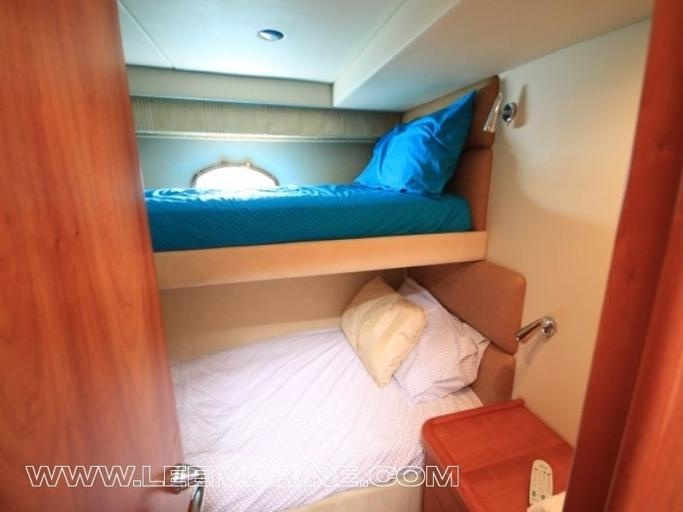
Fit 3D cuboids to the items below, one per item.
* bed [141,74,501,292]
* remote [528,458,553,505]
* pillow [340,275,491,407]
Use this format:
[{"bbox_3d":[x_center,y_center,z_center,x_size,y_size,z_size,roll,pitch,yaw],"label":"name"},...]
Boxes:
[{"bbox_3d":[-0.106,-0.340,2.502,1.540,0.788,0.869,-3,13,-17],"label":"bed"},{"bbox_3d":[0.726,0.817,1.799,0.069,0.025,0.215,12,17,19],"label":"remote"},{"bbox_3d":[0.379,0.451,2.467,0.454,0.271,0.790,-17,16,-8],"label":"pillow"}]
